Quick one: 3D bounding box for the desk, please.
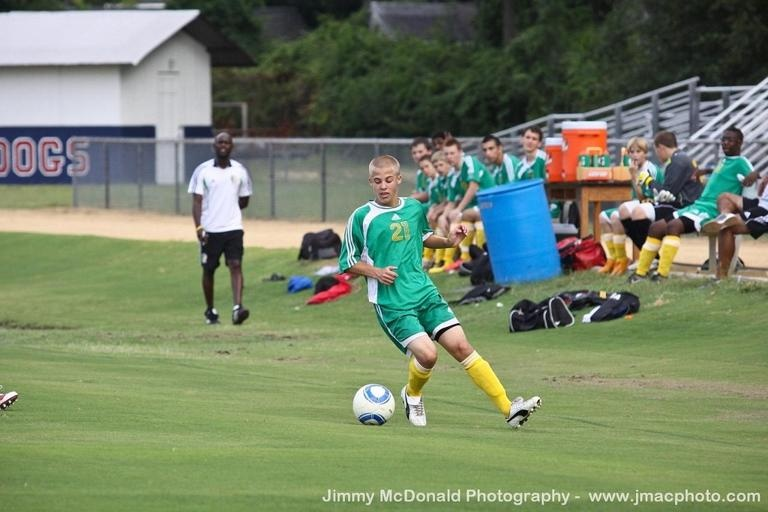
[{"bbox_3d":[4.037,-0.777,31.389,1.452,1.241,1.129,-1,0,-44],"label":"desk"}]

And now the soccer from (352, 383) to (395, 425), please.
[{"bbox_3d":[-0.174,2.141,23.776,0.614,0.565,0.567,3,-37,-12],"label":"soccer"}]

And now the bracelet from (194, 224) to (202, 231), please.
[{"bbox_3d":[-3.453,-0.521,30.011,0.255,0.097,0.260,-4,2,-2],"label":"bracelet"}]

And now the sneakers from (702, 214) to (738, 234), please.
[{"bbox_3d":[5.757,-0.533,27.768,0.633,0.239,0.267,-24,14,16],"label":"sneakers"}]

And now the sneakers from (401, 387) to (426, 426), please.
[{"bbox_3d":[0.436,2.233,23.701,0.240,0.638,0.259,-14,-27,-28],"label":"sneakers"}]

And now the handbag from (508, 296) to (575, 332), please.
[{"bbox_3d":[2.709,1.038,28.110,0.915,0.381,0.647,-8,1,-1],"label":"handbag"}]

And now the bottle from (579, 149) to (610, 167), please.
[{"bbox_3d":[4.024,-1.822,30.757,0.397,0.244,0.377,0,-2,0],"label":"bottle"}]

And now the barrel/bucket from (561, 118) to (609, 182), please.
[{"bbox_3d":[3.860,-2.077,31.291,1.045,1.146,1.107,0,-1,0],"label":"barrel/bucket"}]
